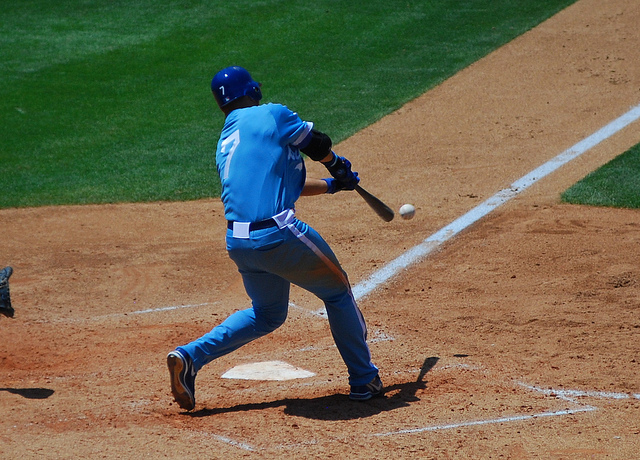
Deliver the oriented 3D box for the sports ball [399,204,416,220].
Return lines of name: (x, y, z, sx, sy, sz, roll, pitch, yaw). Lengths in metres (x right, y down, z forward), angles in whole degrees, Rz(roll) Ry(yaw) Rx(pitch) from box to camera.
sports ball: (1.100, -0.227, 13.874, 0.217, 0.175, 0.206, -15, 3, 1)
